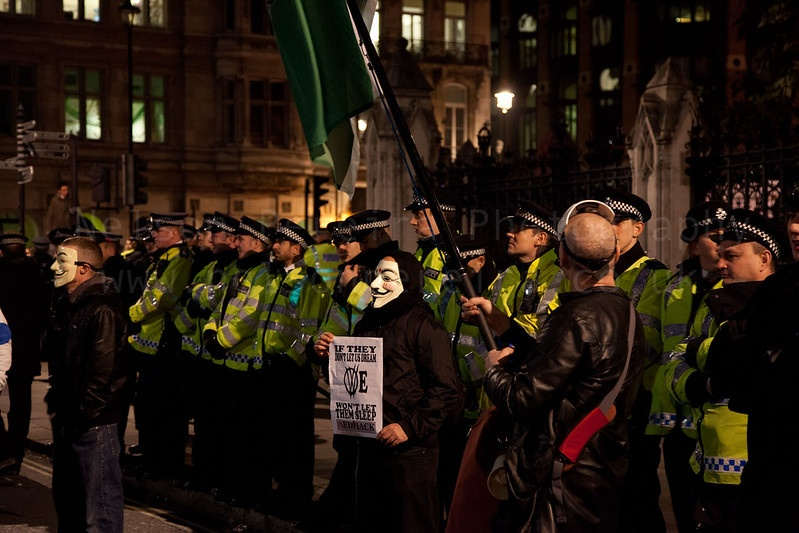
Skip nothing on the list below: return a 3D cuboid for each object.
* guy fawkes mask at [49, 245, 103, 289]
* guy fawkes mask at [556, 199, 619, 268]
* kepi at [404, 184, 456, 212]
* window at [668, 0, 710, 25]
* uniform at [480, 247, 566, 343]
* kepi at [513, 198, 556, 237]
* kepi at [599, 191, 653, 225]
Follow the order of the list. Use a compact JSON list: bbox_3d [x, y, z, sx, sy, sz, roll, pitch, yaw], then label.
[{"bbox_3d":[-4.225,0.026,17.731,0.583,0.448,0.493,12,-10,-37],"label":"guy fawkes mask"},{"bbox_3d":[2.119,-0.363,15.506,0.616,0.768,0.452,2,0,3],"label":"guy fawkes mask"},{"bbox_3d":[0.465,-0.939,19.132,0.564,0.208,0.412,2,-3,-22],"label":"kepi"},{"bbox_3d":[12.258,-10.737,57.574,1.147,1.053,0.054,2,14,6],"label":"window"},{"bbox_3d":[1.688,0.288,17.485,0.436,1.055,1.084,36,-11,-28],"label":"uniform"},{"bbox_3d":[1.820,-0.619,17.837,0.542,0.198,0.449,11,3,-10],"label":"kepi"},{"bbox_3d":[2.909,-0.727,17.330,0.540,0.214,0.469,19,-17,-21],"label":"kepi"}]
